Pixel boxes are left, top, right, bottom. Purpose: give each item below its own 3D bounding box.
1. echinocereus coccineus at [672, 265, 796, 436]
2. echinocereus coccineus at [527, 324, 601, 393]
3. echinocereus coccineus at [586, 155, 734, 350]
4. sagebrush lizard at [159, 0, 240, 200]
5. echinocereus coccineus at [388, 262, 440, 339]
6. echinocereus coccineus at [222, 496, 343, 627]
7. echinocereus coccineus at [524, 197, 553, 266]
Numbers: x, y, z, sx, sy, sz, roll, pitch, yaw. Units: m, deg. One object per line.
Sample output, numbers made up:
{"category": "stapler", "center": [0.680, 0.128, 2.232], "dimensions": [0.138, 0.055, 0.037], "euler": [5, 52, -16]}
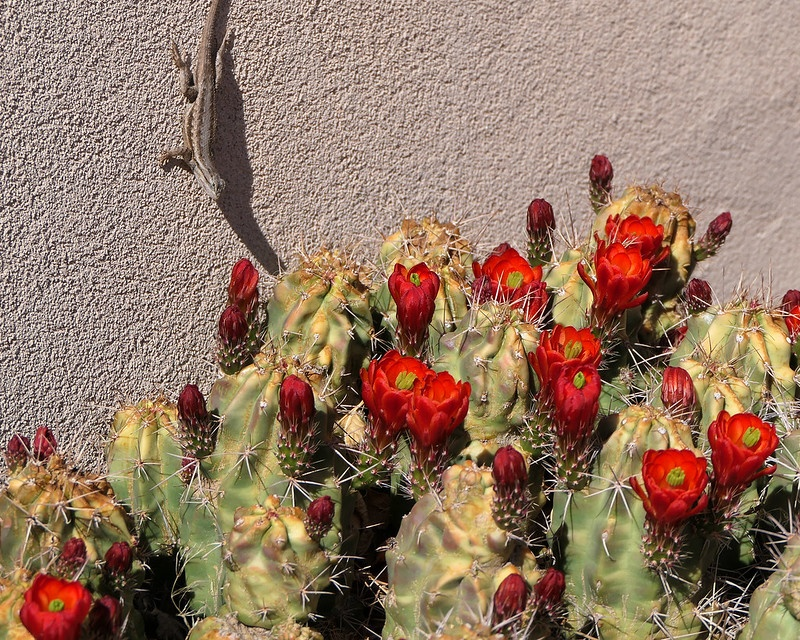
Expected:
{"category": "echinocereus coccineus", "center": [1.265, 0.133, 4.150], "dimensions": [0.265, 0.347, 0.525], "euler": [18, 43, -12]}
{"category": "echinocereus coccineus", "center": [0.553, 0.090, 3.818], "dimensions": [0.178, 0.238, 0.262], "euler": [12, 105, -12]}
{"category": "echinocereus coccineus", "center": [1.075, -0.289, 4.599], "dimensions": [0.483, 0.372, 1.002], "euler": [15, 80, -1]}
{"category": "sagebrush lizard", "center": [-0.863, -0.918, 4.717], "dimensions": [0.119, 0.229, 0.953], "euler": [2, 89, 48]}
{"category": "echinocereus coccineus", "center": [0.049, -0.092, 4.021], "dimensions": [0.190, 0.279, 0.325], "euler": [-1, 70, 6]}
{"category": "echinocereus coccineus", "center": [-0.410, 0.792, 3.601], "dimensions": [0.376, 0.240, 0.406], "euler": [2, 71, 7]}
{"category": "echinocereus coccineus", "center": [0.551, -0.303, 4.484], "dimensions": [0.106, 0.110, 0.390], "euler": [-3, 96, 7]}
